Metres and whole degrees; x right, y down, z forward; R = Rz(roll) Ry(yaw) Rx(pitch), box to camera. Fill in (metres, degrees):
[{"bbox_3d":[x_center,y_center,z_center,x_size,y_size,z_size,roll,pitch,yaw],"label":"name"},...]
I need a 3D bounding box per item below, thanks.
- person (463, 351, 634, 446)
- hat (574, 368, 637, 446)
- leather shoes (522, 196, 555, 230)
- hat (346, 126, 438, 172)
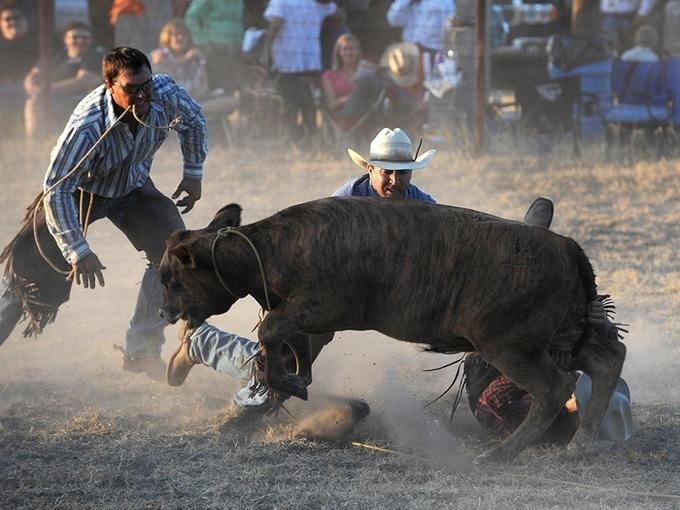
[{"bbox_3d":[1.825,1.354,12.238,1.092,0.451,0.874,23,27,18],"label":"person"},{"bbox_3d":[2.343,1.328,12.112,0.473,0.654,0.257,1,-1,-18],"label":"hat"},{"bbox_3d":[1.796,-0.354,12.047,0.213,0.092,0.322,27,22,-29],"label":"leather shoes"},{"bbox_3d":[0.460,-0.964,12.540,0.822,0.366,0.887,5,6,38],"label":"hat"}]
